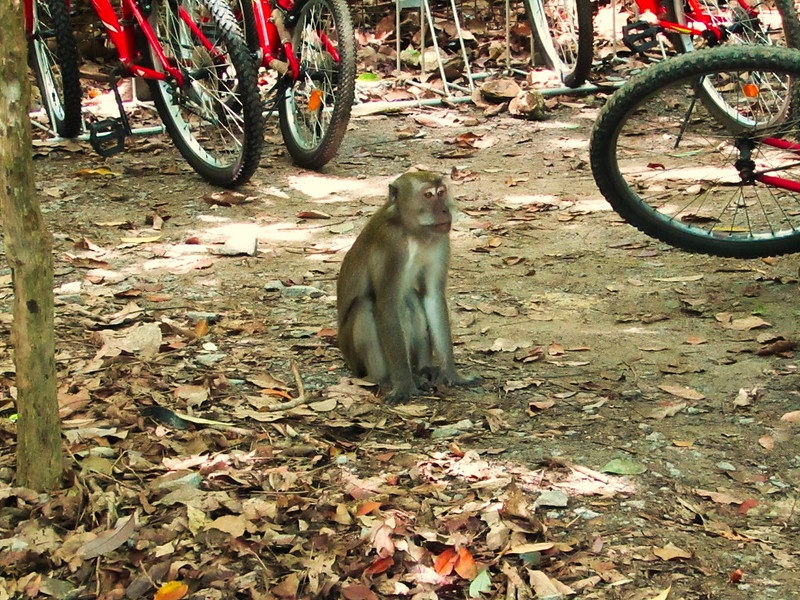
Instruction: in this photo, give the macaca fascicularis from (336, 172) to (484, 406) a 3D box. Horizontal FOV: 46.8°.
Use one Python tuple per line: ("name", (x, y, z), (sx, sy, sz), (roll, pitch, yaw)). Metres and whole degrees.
("macaca fascicularis", (-0.015, -0.095, 5.190), (0.746, 1.223, 0.543), (-6, 17, -3))
